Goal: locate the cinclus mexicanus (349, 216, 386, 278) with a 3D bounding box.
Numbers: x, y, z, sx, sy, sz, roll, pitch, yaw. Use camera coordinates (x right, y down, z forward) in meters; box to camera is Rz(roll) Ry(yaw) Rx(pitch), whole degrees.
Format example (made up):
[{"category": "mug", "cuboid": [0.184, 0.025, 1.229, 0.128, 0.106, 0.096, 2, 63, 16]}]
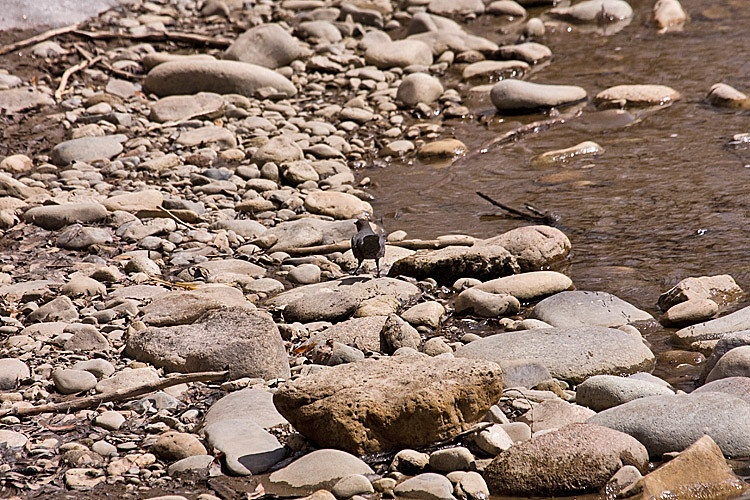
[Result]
[{"category": "cinclus mexicanus", "cuboid": [-0.076, -0.078, 13.863, 0.373, 0.889, 0.491, 2, 64, -2]}]
